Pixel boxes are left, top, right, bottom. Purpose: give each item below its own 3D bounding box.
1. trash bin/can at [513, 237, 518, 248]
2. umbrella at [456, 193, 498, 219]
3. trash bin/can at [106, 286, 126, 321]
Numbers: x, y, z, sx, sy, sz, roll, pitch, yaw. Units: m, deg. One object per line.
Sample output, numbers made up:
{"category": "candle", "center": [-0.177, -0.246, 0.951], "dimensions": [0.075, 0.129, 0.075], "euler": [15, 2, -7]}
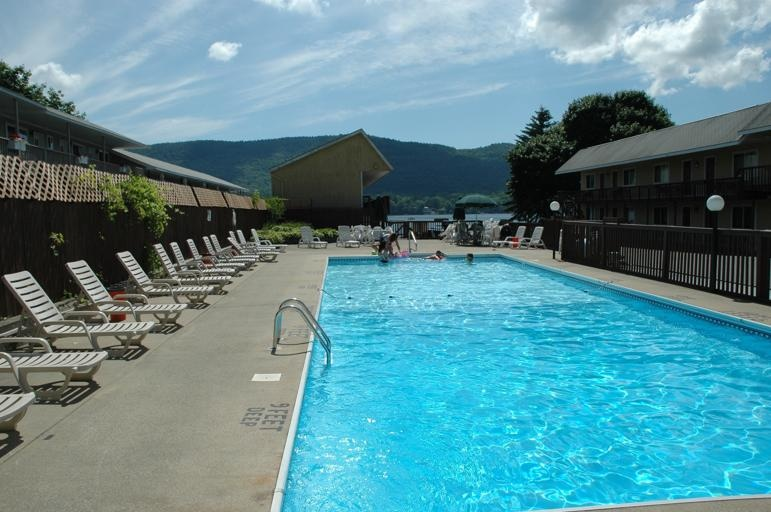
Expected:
{"category": "trash bin/can", "center": [7.518, -0.752, 27.391], "dimensions": [0.376, 0.559, 0.935], "euler": [0, 6, 15]}
{"category": "umbrella", "center": [5.732, -3.322, 30.762], "dimensions": [2.577, 1.769, 2.527], "euler": [-4, 5, -38]}
{"category": "trash bin/can", "center": [-5.410, 0.990, 9.446], "dimensions": [0.385, 0.686, 0.365], "euler": [-4, 27, -24]}
